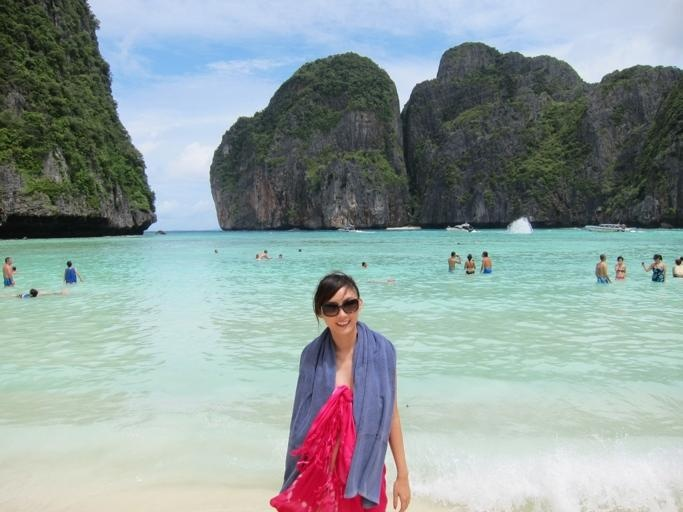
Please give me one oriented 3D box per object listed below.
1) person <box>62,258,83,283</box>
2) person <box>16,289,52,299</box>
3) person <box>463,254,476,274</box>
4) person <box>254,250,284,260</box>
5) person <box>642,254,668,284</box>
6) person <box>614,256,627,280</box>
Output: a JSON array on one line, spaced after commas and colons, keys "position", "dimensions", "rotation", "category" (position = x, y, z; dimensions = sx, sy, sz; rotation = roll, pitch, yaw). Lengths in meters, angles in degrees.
[{"position": [-10.117, 0.583, 20.464], "dimensions": [0.658, 1.423, 0.359], "rotation": [-1, -7, -37], "category": "person"}, {"position": [-8.751, 1.095, 15.271], "dimensions": [0.781, 0.210, 0.453], "rotation": [1, 5, 28], "category": "person"}, {"position": [4.733, 0.302, 20.243], "dimensions": [0.337, 0.802, 2.099], "rotation": [-3, 4, 13], "category": "person"}, {"position": [-4.480, -0.015, 33.483], "dimensions": [1.761, 0.726, 0.530], "rotation": [-1, 6, -5], "category": "person"}, {"position": [9.889, 0.403, 17.138], "dimensions": [0.439, 0.915, 1.204], "rotation": [-2, 4, 29], "category": "person"}, {"position": [8.974, 0.416, 17.610], "dimensions": [0.288, 0.792, 1.091], "rotation": [-2, 4, 27], "category": "person"}]
